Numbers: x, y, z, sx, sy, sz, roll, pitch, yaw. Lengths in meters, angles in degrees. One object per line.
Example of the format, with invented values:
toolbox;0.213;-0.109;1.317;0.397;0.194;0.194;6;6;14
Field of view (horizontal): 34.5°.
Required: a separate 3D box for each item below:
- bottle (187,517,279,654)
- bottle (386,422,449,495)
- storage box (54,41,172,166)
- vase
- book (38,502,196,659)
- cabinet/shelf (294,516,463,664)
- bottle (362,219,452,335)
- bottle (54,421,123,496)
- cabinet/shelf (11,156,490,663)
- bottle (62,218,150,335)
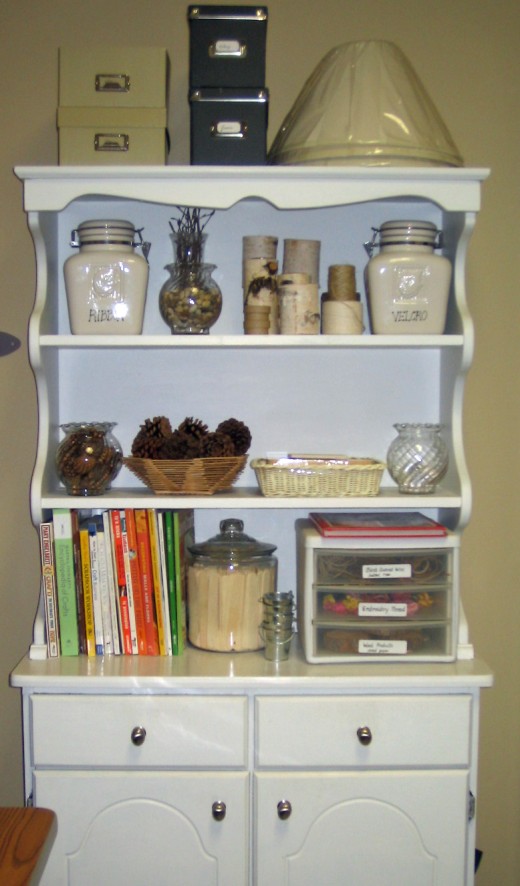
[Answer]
bottle;-0.071;0.297;1.778;0.182;0.251;0.185;-2;-3;0
bottle;0.332;0.029;1.756;0.128;0.152;0.130;4;8;37
storage box;-0.285;-0.658;1.626;0.221;0.220;0.225;1;15;-2
vase;-0.144;-0.323;1.710;0.139;0.198;0.129;-6;13;-20
book;-0.272;0.251;1.790;0.333;0.335;0.275;0;4;0
cabinet/shelf;0.224;0.308;1.725;0.252;0.208;0.273;0;-9;-1
bottle;0.308;-0.324;1.715;0.182;0.228;0.189;1;3;0
bottle;-0.357;0.024;1.718;0.141;0.160;0.142;-1;13;-17
cabinet/shelf;-0.024;-0.083;1.726;1.085;1.075;0.321;0;12;0
bottle;-0.315;-0.329;1.703;0.185;0.230;0.173;0;8;0
